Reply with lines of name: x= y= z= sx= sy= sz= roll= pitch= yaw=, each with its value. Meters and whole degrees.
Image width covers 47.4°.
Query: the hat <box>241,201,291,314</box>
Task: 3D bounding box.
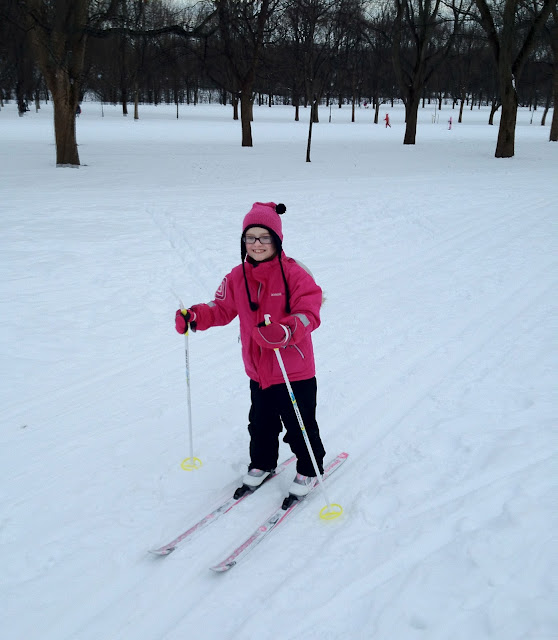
hat: x=-0.076 y=-0.353 z=3.383 sx=0.252 sy=0.543 sz=0.381 roll=0 pitch=17 yaw=-4

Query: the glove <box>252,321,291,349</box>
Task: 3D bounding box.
glove: x=-0.035 y=0.067 z=3.073 sx=0.170 sy=0.122 sz=0.136 roll=8 pitch=19 yaw=22

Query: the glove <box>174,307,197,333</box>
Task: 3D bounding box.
glove: x=-0.499 y=-0.013 z=3.397 sx=0.091 sy=0.137 sz=0.051 roll=-14 pitch=10 yaw=23
